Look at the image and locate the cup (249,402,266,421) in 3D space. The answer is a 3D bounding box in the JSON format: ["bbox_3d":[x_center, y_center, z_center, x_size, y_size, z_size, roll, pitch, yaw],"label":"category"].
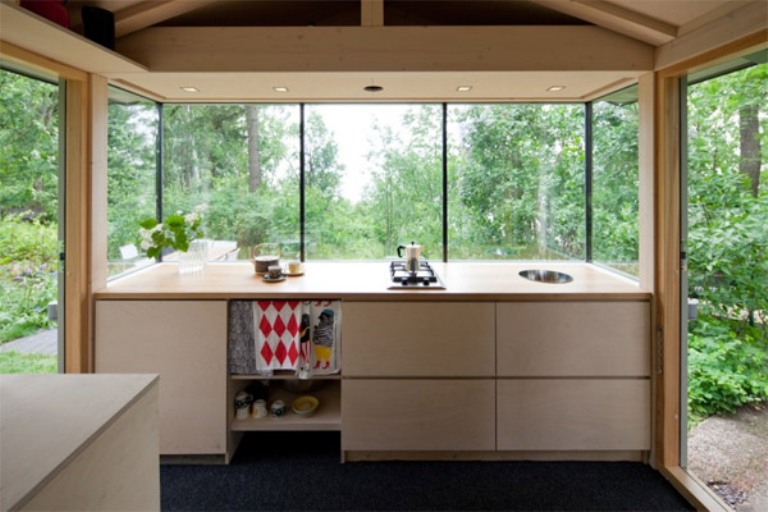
[{"bbox_3d":[-0.898,1.103,3.957,0.093,0.103,0.128,1,0,-10],"label":"cup"}]

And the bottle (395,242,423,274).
[{"bbox_3d":[0.203,-0.008,4.278,0.278,0.301,0.166,-1,-3,1],"label":"bottle"}]

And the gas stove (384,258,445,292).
[{"bbox_3d":[0.222,0.097,4.186,0.384,0.150,0.779,-1,6,-1],"label":"gas stove"}]

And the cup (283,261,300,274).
[{"bbox_3d":[-0.713,0.057,4.288,0.113,0.076,0.089,-6,12,-26],"label":"cup"}]

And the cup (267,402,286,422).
[{"bbox_3d":[-0.783,1.111,4.008,0.100,0.080,0.115,1,-4,-4],"label":"cup"}]

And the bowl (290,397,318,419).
[{"bbox_3d":[-0.580,1.099,4.069,0.128,0.032,0.125,-2,12,0],"label":"bowl"}]

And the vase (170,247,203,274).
[{"bbox_3d":[-1.518,0.001,4.401,0.191,0.294,0.324,0,2,12],"label":"vase"}]

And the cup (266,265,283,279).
[{"bbox_3d":[-0.817,0.098,4.139,0.105,0.074,0.082,-2,5,10],"label":"cup"}]

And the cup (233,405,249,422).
[{"bbox_3d":[-1.018,1.121,3.961,0.086,0.066,0.106,0,-11,-6],"label":"cup"}]

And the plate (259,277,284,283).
[{"bbox_3d":[-0.824,0.143,4.100,0.176,0.038,0.114,-2,6,-12],"label":"plate"}]
